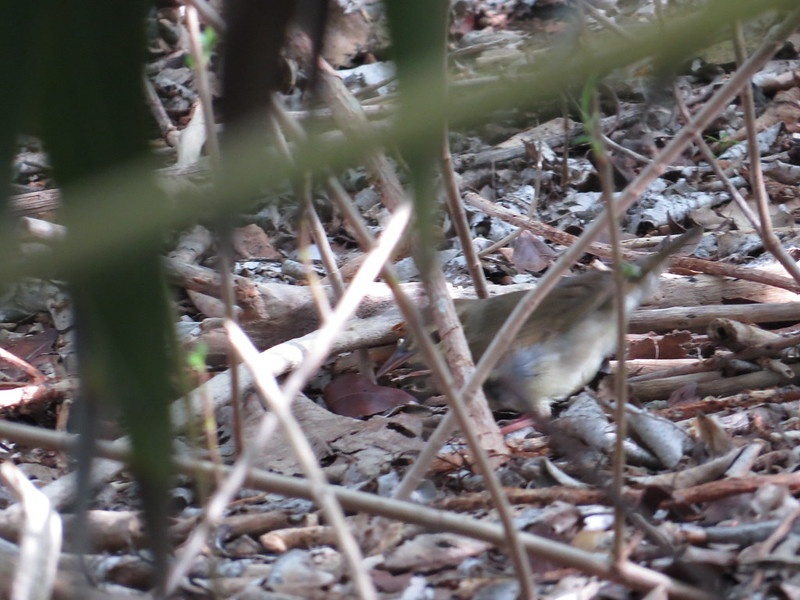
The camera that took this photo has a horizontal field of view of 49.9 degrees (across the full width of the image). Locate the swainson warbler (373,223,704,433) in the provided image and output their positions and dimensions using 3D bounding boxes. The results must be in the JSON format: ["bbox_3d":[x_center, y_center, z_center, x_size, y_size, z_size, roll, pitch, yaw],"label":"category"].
[{"bbox_3d":[0.376,0.062,2.020,1.010,0.329,0.281,-24,18,14],"label":"swainson warbler"}]
